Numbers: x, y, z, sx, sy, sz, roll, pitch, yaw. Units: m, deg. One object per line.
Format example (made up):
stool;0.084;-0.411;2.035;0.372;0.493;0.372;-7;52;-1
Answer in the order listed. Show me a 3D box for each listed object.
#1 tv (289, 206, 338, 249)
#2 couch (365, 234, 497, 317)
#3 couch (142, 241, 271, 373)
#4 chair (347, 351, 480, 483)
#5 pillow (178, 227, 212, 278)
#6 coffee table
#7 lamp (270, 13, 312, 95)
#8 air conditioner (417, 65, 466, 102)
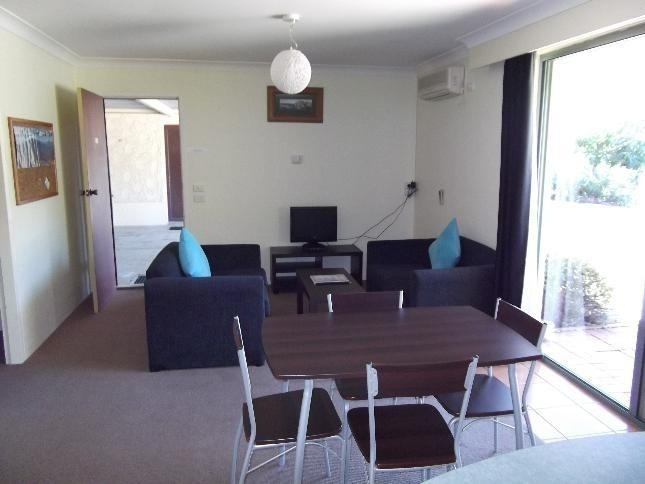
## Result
tv;-0.132;-0.213;6.718;0.530;0.470;0.149;0;4;-8
couch;1.126;0.438;5.716;0.941;1.113;1.785;-2;11;-5
couch;-1.129;0.553;5.159;1.132;0.907;1.595;0;11;-2
chair;0.502;0.926;2.852;0.594;0.689;0.395;-2;11;-11
pillow;-1.346;0.113;5.265;0.221;0.420;0.464;2;14;-6
coffee table;0.118;0.515;5.655;0.870;0.585;0.478;-3;-6;1
lamp;-0.279;-1.610;4.365;0.358;0.658;0.360;15;20;37
air conditioner;1.400;-1.890;6.028;0.230;0.332;0.763;-7;11;-19
